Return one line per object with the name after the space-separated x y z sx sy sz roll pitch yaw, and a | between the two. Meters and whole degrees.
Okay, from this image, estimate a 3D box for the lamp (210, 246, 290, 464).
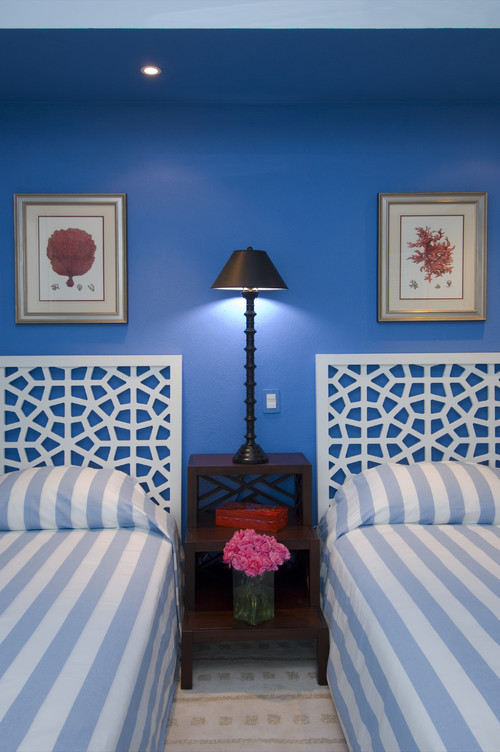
-0.003 -0.088 2.549 0.291 0.849 0.361 0 4 0 | lamp

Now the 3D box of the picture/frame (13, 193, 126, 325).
-0.780 -0.520 2.637 0.537 0.608 0.060 0 5 1 | picture/frame

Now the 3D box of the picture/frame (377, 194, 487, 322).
0.776 -0.532 2.693 0.533 0.630 0.031 0 3 0 | picture/frame

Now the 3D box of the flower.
0.041 0.699 2.199 0.199 0.307 0.271 3 5 32 | flower

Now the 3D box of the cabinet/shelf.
-0.007 0.636 2.357 0.432 0.608 0.805 0 9 -1 | cabinet/shelf
